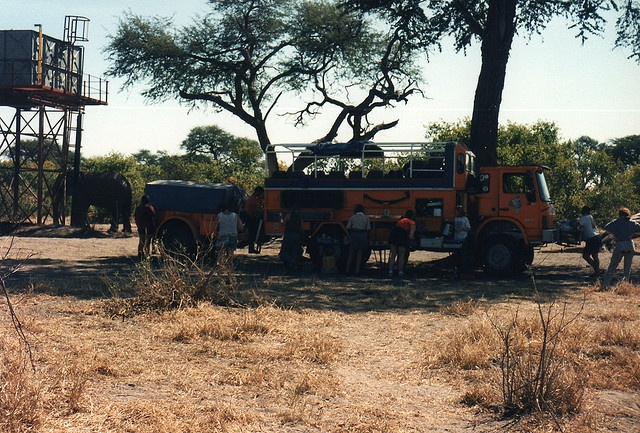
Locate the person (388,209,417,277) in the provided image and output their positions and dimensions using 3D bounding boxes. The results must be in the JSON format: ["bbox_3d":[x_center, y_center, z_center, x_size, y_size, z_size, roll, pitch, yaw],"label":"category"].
[{"bbox_3d":[3.198,1.061,33.650,0.927,2.696,0.920,3,2,7],"label":"person"}]

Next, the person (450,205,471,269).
[{"bbox_3d":[5.555,0.885,33.795,0.695,1.821,0.573,3,2,9],"label":"person"}]

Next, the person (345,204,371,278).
[{"bbox_3d":[1.508,0.899,34.182,0.912,2.768,1.050,3,2,3],"label":"person"}]
